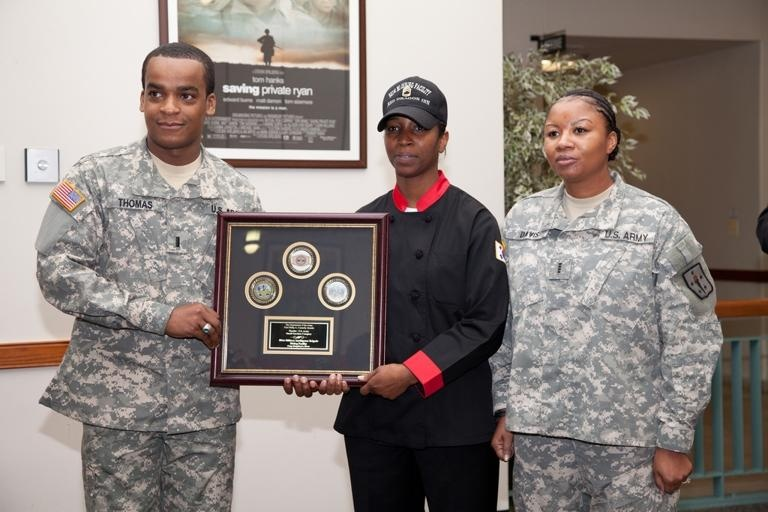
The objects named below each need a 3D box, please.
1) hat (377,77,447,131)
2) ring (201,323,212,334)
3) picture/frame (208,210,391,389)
[{"bbox_3d":[0.128,-0.580,2.541,0.172,0.151,0.255,3,4,20],"label":"hat"},{"bbox_3d":[-0.636,0.261,2.358,0.028,0.037,0.011,-1,8,-18],"label":"ring"},{"bbox_3d":[-0.315,0.183,2.443,0.670,0.663,0.068,0,-2,0],"label":"picture/frame"}]
